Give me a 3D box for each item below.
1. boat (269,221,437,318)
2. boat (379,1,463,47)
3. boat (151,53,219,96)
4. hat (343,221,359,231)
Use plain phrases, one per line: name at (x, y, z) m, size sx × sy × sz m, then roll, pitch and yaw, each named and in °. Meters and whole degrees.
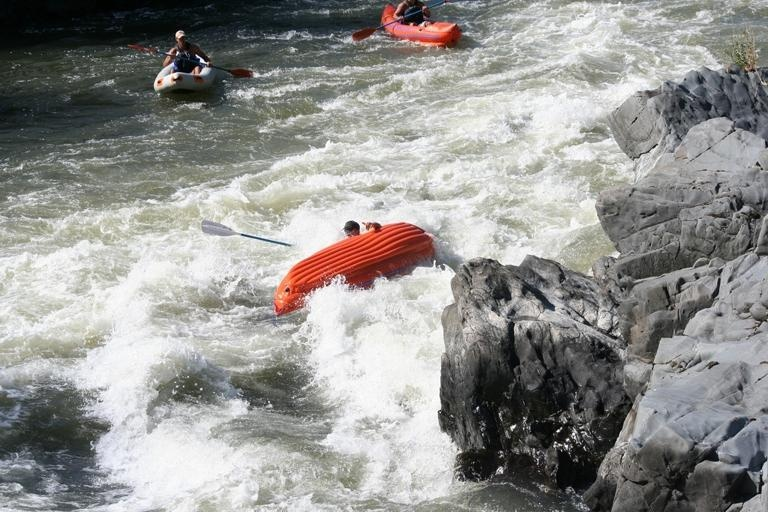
boat at (-0.183, 0.280, 24.720) m, size 4.178 × 0.920 × 1.299 m, roll -19°, pitch 52°, yaw -8°
boat at (0.892, -6.582, 34.027) m, size 0.967 × 0.730 × 3.026 m, roll -46°, pitch 37°, yaw -10°
boat at (-5.296, -4.650, 31.294) m, size 1.697 × 0.642 × 0.947 m, roll -13°, pitch 22°, yaw -9°
hat at (-0.712, -0.642, 24.805) m, size 0.249 × 0.244 × 0.204 m, roll 8°, pitch 9°, yaw -42°
